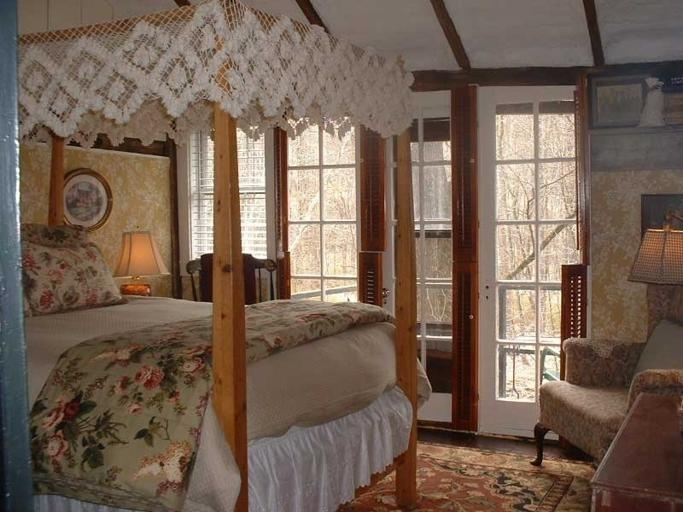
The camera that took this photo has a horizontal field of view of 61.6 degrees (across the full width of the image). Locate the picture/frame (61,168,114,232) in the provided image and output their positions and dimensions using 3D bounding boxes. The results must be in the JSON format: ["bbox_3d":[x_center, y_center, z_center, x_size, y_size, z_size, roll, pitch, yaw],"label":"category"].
[{"bbox_3d":[-2.235,-0.495,5.003,0.062,0.613,0.620,0,-2,27],"label":"picture/frame"}]
